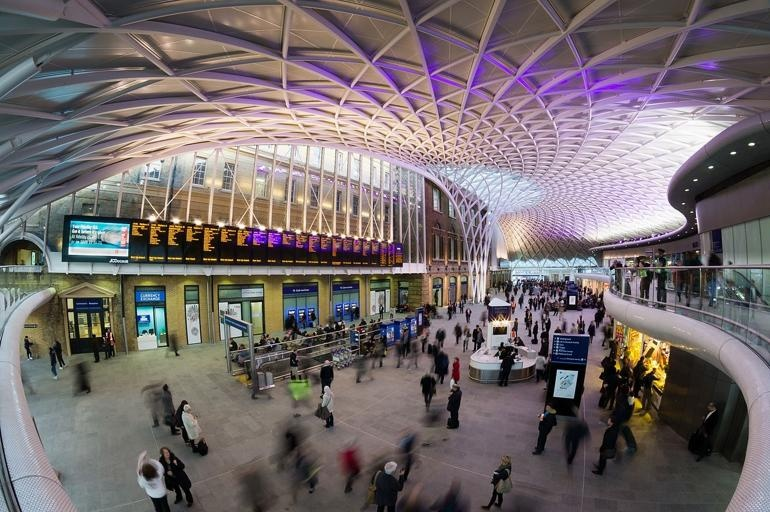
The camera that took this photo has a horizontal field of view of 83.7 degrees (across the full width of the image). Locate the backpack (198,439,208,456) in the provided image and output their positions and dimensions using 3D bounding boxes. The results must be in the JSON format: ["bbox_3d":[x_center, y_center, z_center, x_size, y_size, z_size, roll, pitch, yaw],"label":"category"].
[{"bbox_3d":[-7.365,7.623,17.395,0.402,0.579,0.385,-6,17,-23],"label":"backpack"}]

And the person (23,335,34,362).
[{"bbox_3d":[-21.491,5.512,25.984,0.414,1.332,0.638,-8,18,-27],"label":"person"}]

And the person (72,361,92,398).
[{"bbox_3d":[-15.721,6.432,22.375,1.242,1.914,1.173,3,-10,-33],"label":"person"}]

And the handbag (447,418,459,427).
[{"bbox_3d":[2.996,7.319,19.177,0.522,0.427,0.353,0,4,15],"label":"handbag"}]

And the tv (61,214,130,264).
[{"bbox_3d":[-17.400,-0.938,25.816,3.390,2.596,0.356,-2,5,-38],"label":"tv"}]

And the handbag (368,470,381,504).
[{"bbox_3d":[-0.354,7.940,14.916,0.450,1.396,0.604,2,16,2],"label":"handbag"}]

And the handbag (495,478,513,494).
[{"bbox_3d":[4.257,8.084,15.267,0.651,0.620,0.203,-5,17,-22],"label":"handbag"}]

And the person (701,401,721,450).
[{"bbox_3d":[12.961,6.731,17.204,0.939,1.966,0.447,-14,21,-42],"label":"person"}]
